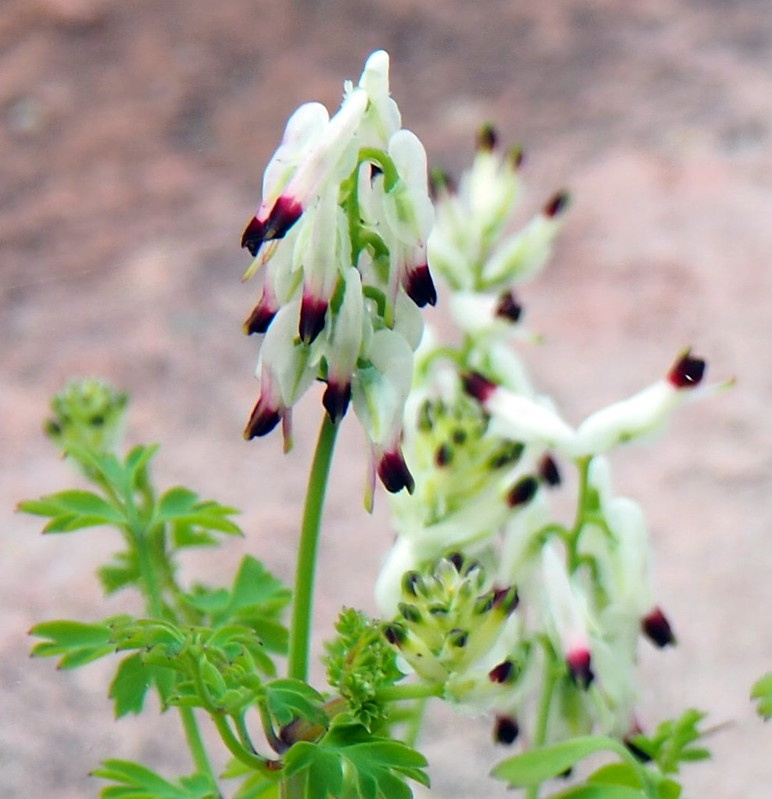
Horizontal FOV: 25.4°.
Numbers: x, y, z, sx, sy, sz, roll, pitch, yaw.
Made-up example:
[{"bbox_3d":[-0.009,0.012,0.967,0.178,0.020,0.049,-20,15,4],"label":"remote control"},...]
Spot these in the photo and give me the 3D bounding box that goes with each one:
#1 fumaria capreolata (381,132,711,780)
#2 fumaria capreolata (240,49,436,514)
[{"bbox_3d":[0.093,0.045,1.158,0.187,0.425,0.224,4,20,39],"label":"fumaria capreolata"},{"bbox_3d":[-0.033,-0.072,1.142,0.142,0.293,0.152,-9,16,2],"label":"fumaria capreolata"}]
